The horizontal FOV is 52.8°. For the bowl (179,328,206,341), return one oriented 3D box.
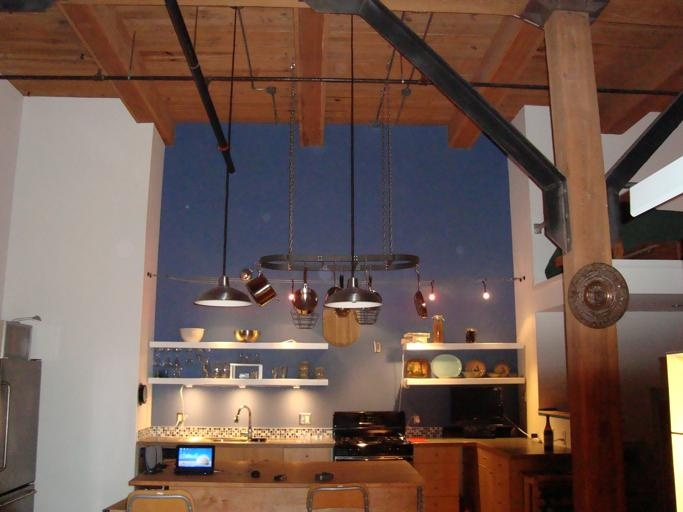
[{"bbox_3d":[-1.655,0.869,7.627,0.268,0.209,0.329,2,-14,-12],"label":"bowl"}]

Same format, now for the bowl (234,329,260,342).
[{"bbox_3d":[-1.050,0.888,7.670,0.261,0.180,0.297,1,-14,-6],"label":"bowl"}]

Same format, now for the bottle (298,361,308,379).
[{"bbox_3d":[-0.416,1.280,7.647,0.138,0.218,0.144,1,-8,0],"label":"bottle"}]

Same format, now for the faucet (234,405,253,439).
[{"bbox_3d":[-1.074,1.814,7.520,0.211,0.372,0.335,1,-14,-7],"label":"faucet"}]

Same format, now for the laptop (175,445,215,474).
[{"bbox_3d":[-1.286,1.769,6.099,0.317,0.237,0.223,1,-15,-3],"label":"laptop"}]

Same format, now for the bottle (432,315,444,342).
[{"bbox_3d":[1.097,0.835,7.842,0.140,0.322,0.221,-3,-13,8],"label":"bottle"}]

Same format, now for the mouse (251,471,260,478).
[{"bbox_3d":[-0.748,1.885,5.943,0.044,0.043,0.046,2,-3,5],"label":"mouse"}]

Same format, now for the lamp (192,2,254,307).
[{"bbox_3d":[-1.168,-0.701,6.906,0.607,2.676,2.522,1,-14,-9],"label":"lamp"}]

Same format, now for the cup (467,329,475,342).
[{"bbox_3d":[1.466,0.902,7.782,0.115,0.159,0.115,-1,-13,0],"label":"cup"}]

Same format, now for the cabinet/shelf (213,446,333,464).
[{"bbox_3d":[-0.766,2.039,7.051,1.083,0.206,0.261,1,-14,-3],"label":"cabinet/shelf"}]

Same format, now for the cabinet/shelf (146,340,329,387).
[{"bbox_3d":[-1.189,1.180,7.581,1.838,0.526,0.491,1,-14,-7],"label":"cabinet/shelf"}]
